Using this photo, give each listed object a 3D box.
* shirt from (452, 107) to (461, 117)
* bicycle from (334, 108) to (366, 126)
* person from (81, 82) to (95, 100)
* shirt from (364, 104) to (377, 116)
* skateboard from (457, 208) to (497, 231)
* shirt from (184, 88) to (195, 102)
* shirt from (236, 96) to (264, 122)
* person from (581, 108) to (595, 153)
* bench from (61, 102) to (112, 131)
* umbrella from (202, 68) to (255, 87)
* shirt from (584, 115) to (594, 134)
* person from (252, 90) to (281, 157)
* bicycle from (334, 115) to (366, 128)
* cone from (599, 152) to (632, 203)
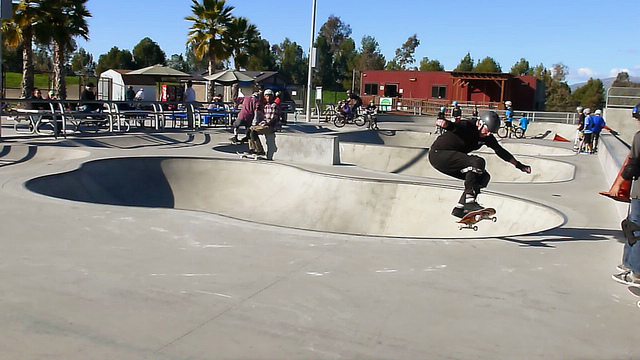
[{"bbox_3d":[6.573,-3.234,24.624,0.334,0.462,1.217,5,7,15],"label":"shirt"},{"bbox_3d":[1.562,-3.266,27.319,1.511,0.862,0.757,1,10,-12],"label":"bicycle"},{"bbox_3d":[-8.948,-3.430,19.838,0.420,0.685,1.108,0,7,-23],"label":"person"},{"bbox_3d":[2.730,-3.711,27.410,0.464,0.596,1.312,4,7,5],"label":"shirt"},{"bbox_3d":[2.624,0.708,8.718,0.339,0.170,0.664,3,-16,-40],"label":"skateboard"},{"bbox_3d":[-5.865,-3.822,23.112,0.402,0.609,0.963,1,7,-17],"label":"shirt"},{"bbox_3d":[-2.225,-2.281,16.558,0.794,0.850,0.348,6,10,1],"label":"shirt"},{"bbox_3d":[10.206,-1.855,19.540,0.439,1.646,0.811,7,8,26],"label":"person"},{"bbox_3d":[-8.377,-2.300,18.432,1.847,0.789,1.251,-8,-5,-36],"label":"bench"},{"bbox_3d":[-5.358,-6.053,30.345,2.426,0.948,2.386,10,24,16],"label":"umbrella"},{"bbox_3d":[10.084,-2.033,19.248,0.265,0.619,0.535,-22,26,-35],"label":"shirt"},{"bbox_3d":[-1.598,-1.678,15.249,0.890,1.978,0.539,1,7,-20],"label":"person"},{"bbox_3d":[1.553,-3.086,27.224,1.489,0.857,0.707,-3,22,-5],"label":"bicycle"},{"bbox_3d":[4.126,-0.043,7.173,0.399,0.756,0.355,0,0,8],"label":"cone"}]
